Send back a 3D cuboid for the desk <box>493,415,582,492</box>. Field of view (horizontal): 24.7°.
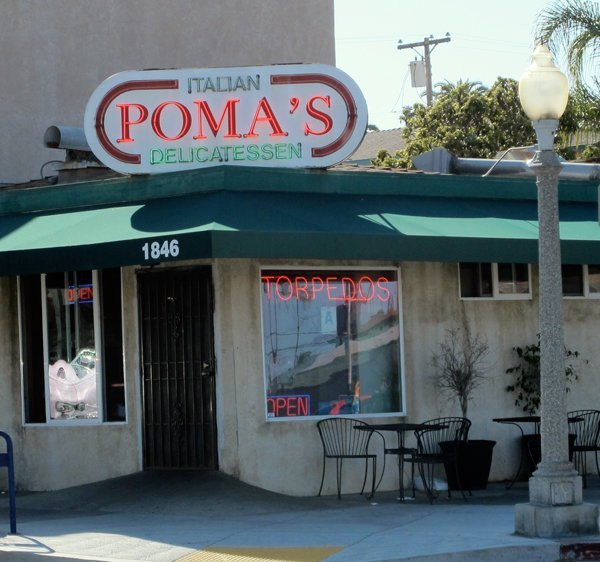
[{"bbox_3d":[3.306,2.367,19.479,1.108,0.942,1.160,-8,-9,26],"label":"desk"}]

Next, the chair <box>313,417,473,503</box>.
[{"bbox_3d":[1.304,2.350,18.578,2.194,1.122,1.475,-2,-5,-3],"label":"chair"}]

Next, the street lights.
[{"bbox_3d":[2.829,0.045,15.775,0.853,5.652,0.463,-3,-5,10],"label":"street lights"}]
